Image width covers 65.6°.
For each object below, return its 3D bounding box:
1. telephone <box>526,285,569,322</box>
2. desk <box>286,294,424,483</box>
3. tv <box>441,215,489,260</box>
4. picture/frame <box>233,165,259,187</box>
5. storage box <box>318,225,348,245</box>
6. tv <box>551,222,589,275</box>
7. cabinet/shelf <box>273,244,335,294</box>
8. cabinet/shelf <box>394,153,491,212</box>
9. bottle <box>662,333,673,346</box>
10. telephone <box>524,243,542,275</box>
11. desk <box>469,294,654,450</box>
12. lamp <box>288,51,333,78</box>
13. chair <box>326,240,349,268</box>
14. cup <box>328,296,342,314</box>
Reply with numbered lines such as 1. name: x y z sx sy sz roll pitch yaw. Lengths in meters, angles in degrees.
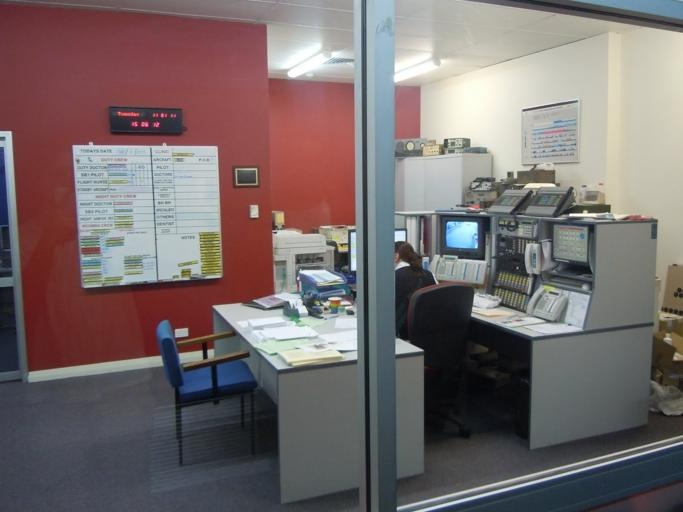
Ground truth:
1. telephone: 1.352 0.314 3.420 0.092 0.229 0.233 38 -18 -27
2. desk: 0.004 0.881 3.044 0.681 0.755 1.190 -4 8 -18
3. tv: 0.943 -0.150 4.080 0.089 0.321 0.422 -13 13 -42
4. picture/frame: -0.892 -0.736 4.865 0.193 0.168 0.015 -3 7 -20
5. storage box: -0.065 -0.260 5.987 0.218 0.127 0.300 -2 11 -17
6. tv: 1.453 -0.054 3.334 0.099 0.264 0.304 -5 7 -30
7. cabinet/shelf: -0.384 0.135 5.464 0.738 0.428 0.179 -10 11 -27
8. cabinet/shelf: 1.211 -0.857 6.061 0.470 0.930 0.958 -3 5 -41
9. bottle: 2.342 0.600 3.792 0.056 0.097 0.058 -5 7 1
10. telephone: 1.270 0.023 3.495 0.133 0.216 0.073 2 11 35
11. desk: 1.483 0.583 3.375 0.712 0.497 0.992 -4 10 -16
12. lamp: -0.336 -2.213 6.107 0.232 0.083 1.081 -10 11 -26
13. chair: -0.027 -0.001 5.660 0.246 0.359 0.359 0 3 -14
14. cup: -0.046 0.349 3.738 0.092 0.096 0.088 -1 3 0
